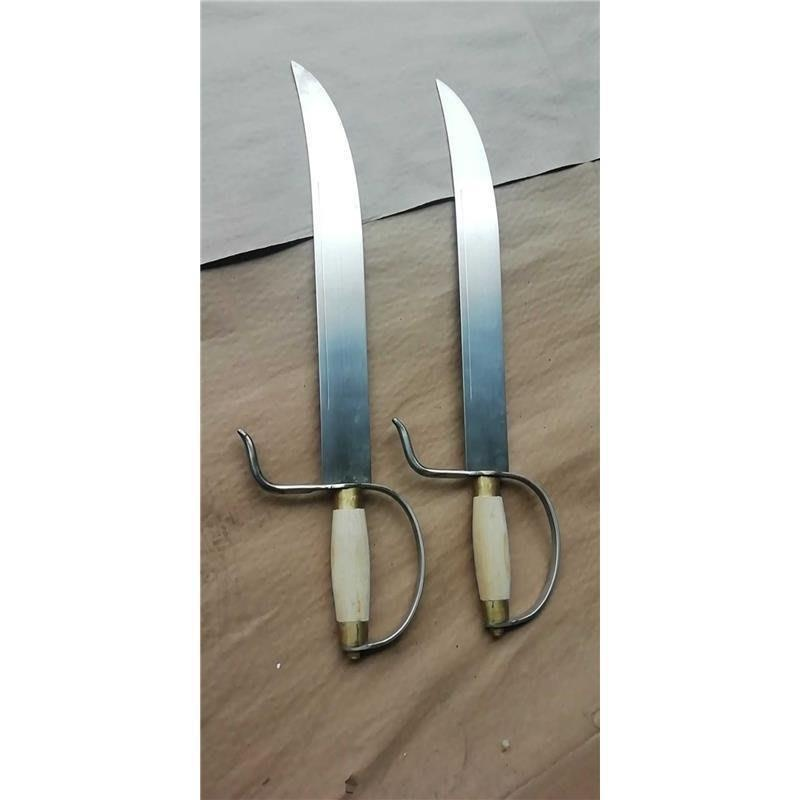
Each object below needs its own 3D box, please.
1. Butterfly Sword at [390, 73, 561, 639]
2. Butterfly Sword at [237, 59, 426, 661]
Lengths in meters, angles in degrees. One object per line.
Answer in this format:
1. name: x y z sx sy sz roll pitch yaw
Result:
1. Butterfly Sword: 0.125 -0.096 1.588 0.185 0.927 0.077 0 1 -7
2. Butterfly Sword: -0.113 -0.074 1.565 0.266 0.903 0.207 -4 7 4
